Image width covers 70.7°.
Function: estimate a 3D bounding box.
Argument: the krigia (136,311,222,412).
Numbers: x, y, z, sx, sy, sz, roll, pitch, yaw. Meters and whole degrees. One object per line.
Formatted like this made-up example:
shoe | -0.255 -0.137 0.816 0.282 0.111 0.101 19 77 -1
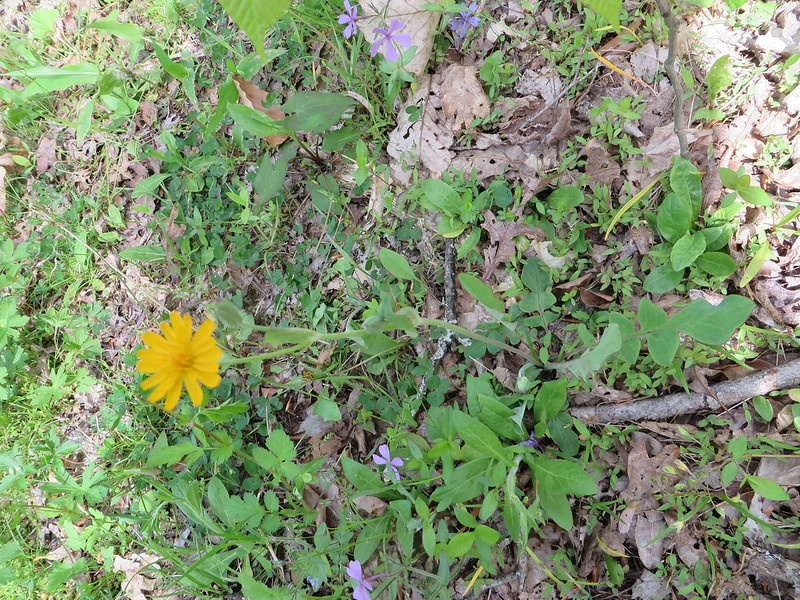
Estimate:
krigia | -0.730 0.196 1.954 0.291 0.125 0.339 -23 96 -4
